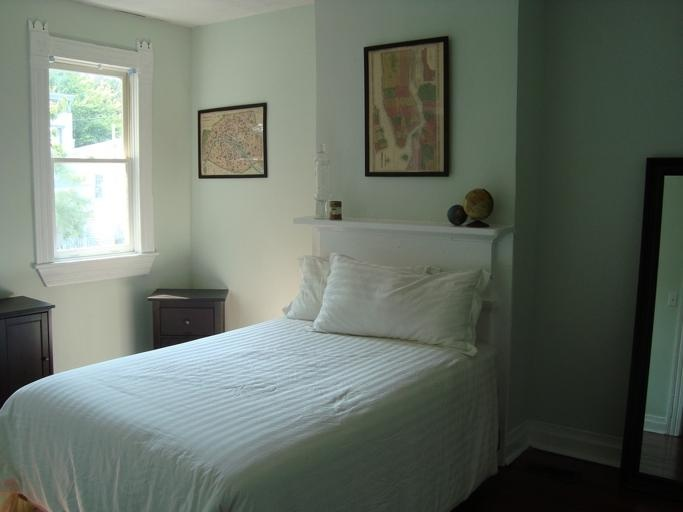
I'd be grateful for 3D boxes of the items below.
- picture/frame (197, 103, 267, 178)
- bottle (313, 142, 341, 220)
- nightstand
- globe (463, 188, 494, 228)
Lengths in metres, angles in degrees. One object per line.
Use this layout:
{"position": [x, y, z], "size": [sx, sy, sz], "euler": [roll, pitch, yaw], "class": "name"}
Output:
{"position": [-0.914, -1.000, 4.628], "size": [0.633, 0.543, 0.026], "euler": [4, 8, 34], "class": "picture/frame"}
{"position": [-0.086, -0.527, 3.796], "size": [0.191, 0.501, 0.326], "euler": [0, 13, 0], "class": "bottle"}
{"position": [-1.227, 0.438, 4.647], "size": [0.571, 0.764, 0.463], "euler": [0, 3, -8], "class": "nightstand"}
{"position": [0.809, -0.285, 3.202], "size": [0.205, 0.266, 0.203], "euler": [-6, 7, -41], "class": "globe"}
